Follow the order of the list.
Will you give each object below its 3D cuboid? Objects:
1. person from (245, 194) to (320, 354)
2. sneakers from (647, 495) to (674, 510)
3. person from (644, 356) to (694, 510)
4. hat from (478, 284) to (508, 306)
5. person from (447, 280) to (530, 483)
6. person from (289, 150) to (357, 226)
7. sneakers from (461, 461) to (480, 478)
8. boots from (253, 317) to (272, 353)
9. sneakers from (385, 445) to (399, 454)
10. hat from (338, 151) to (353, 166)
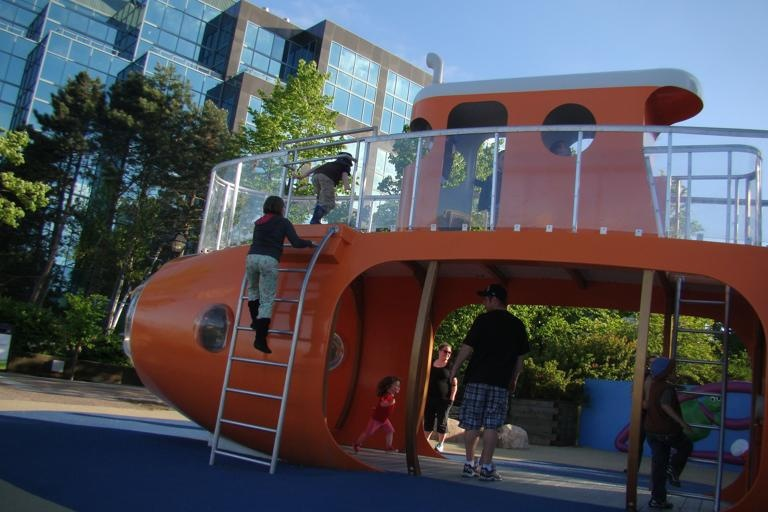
[{"bbox_3d":[-1.489,0.222,7.020,0.699,2.085,0.352,7,-8,-1],"label":"person"},{"bbox_3d":[3.365,3.023,6.513,0.341,0.154,0.115,0,-3,1],"label":"sneakers"},{"bbox_3d":[3.609,2.219,6.739,0.583,1.806,0.436,10,-8,-18],"label":"person"},{"bbox_3d":[1.455,0.468,7.053,0.366,0.210,0.254,21,3,13],"label":"hat"},{"bbox_3d":[1.338,1.580,6.780,0.893,2.494,0.406,6,-8,8],"label":"person"},{"bbox_3d":[-0.944,-1.072,8.134,0.992,1.279,0.624,15,-9,-8],"label":"person"},{"bbox_3d":[1.130,2.758,6.892,0.153,0.187,0.432,0,-7,21],"label":"sneakers"},{"bbox_3d":[-1.573,1.013,6.863,0.252,0.434,0.155,10,-8,-17],"label":"boots"},{"bbox_3d":[0.128,3.182,8.769,0.311,0.137,0.108,-5,-9,28],"label":"sneakers"},{"bbox_3d":[-0.593,-1.507,8.163,0.175,0.114,0.229,27,-1,-38],"label":"hat"}]
